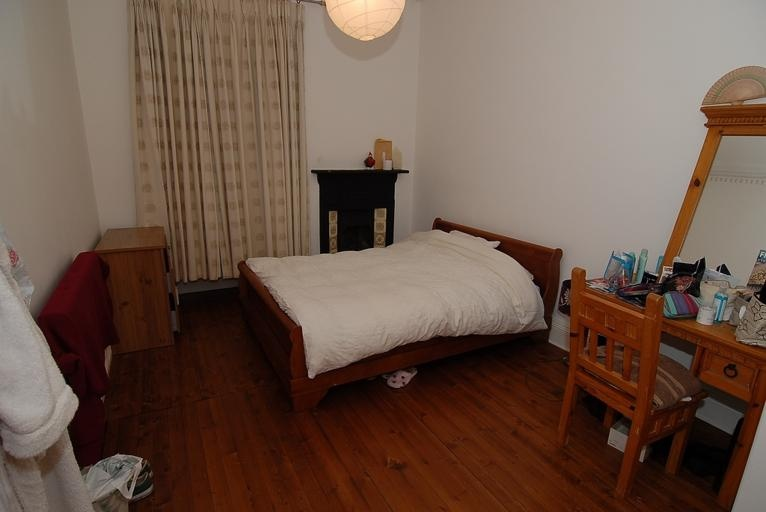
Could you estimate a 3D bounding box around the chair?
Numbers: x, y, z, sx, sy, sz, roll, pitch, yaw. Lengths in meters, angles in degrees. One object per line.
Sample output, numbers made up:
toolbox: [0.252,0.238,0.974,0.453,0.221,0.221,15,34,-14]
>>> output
chair: [1.717,0.808,3.264,0.721,1.473,0.665,-13,23,-25]

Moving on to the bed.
bed: [0.637,0.419,4.551,1.762,0.719,1.341,-14,10,-4]

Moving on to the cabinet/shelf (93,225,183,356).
cabinet/shelf: [-2.220,0.297,4.356,0.580,0.938,0.685,-6,19,-26]
